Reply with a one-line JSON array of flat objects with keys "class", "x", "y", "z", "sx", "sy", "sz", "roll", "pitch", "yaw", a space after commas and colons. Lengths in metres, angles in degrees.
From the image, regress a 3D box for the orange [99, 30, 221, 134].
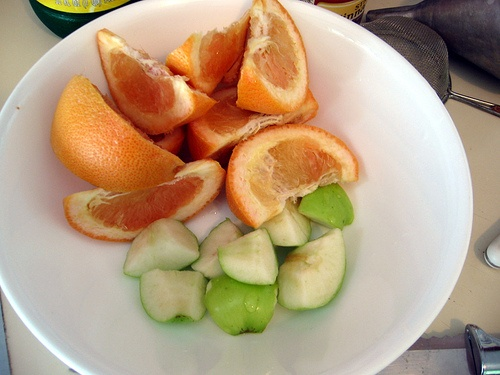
[{"class": "orange", "x": -0.238, "y": -0.235, "z": 1.055, "sx": 0.289, "sy": 0.118, "sz": 0.153, "roll": 31, "pitch": 47, "yaw": 13}]
